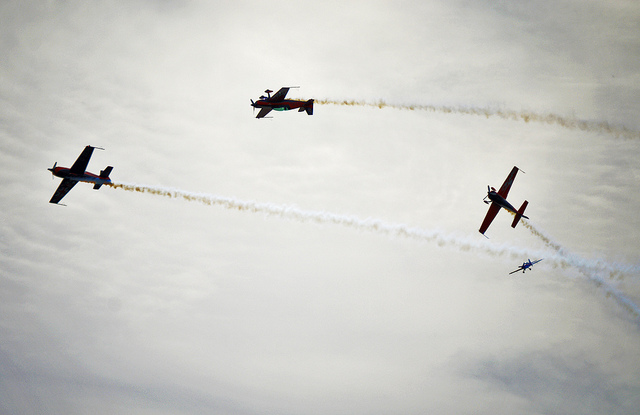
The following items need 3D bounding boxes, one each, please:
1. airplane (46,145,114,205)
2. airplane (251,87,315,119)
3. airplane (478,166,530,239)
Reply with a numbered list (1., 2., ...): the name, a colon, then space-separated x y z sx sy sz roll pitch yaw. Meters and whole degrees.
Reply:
1. airplane: -24.564 -3.802 76.847 5.874 8.122 2.112 8 -83 -33
2. airplane: -3.814 -10.743 76.417 6.326 8.159 2.141 4 -87 -14
3. airplane: 18.676 -0.500 75.979 4.810 2.182 7.973 24 -107 3
